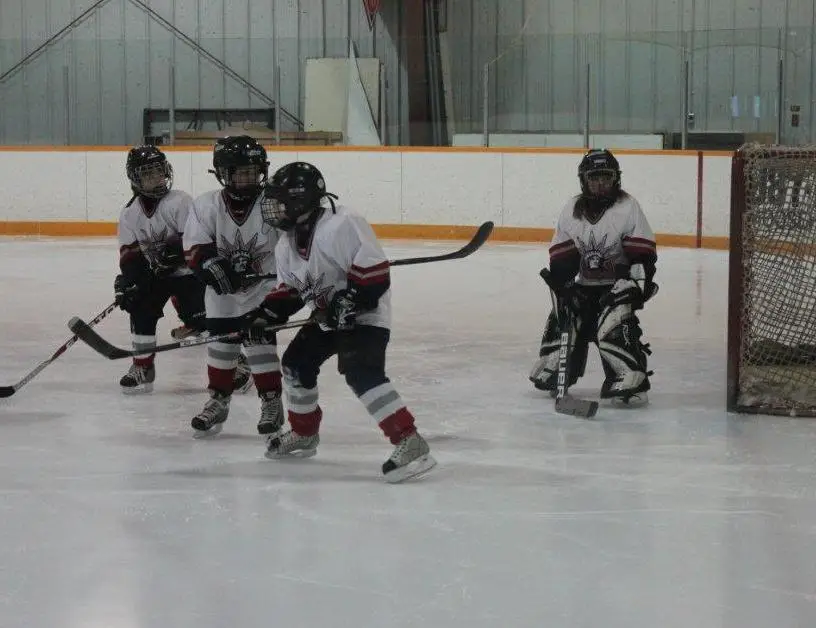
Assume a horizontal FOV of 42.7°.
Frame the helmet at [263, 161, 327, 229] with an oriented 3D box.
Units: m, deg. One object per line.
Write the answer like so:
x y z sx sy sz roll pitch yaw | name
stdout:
-0.401 -0.418 3.742 0.243 0.225 0.200 -7 0 -6 | helmet

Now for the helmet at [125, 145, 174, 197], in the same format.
-1.190 -0.648 4.794 0.186 0.235 0.213 -3 13 -14 | helmet

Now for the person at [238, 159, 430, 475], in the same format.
-0.251 0.014 3.732 0.763 1.093 0.265 8 15 33 | person

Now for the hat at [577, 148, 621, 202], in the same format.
0.849 -0.630 4.750 0.191 0.208 0.231 -2 4 3 | hat

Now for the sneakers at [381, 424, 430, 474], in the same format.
-0.002 0.493 3.648 0.186 0.175 0.106 -1 12 -2 | sneakers

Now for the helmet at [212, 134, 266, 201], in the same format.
-0.659 -0.593 4.199 0.203 0.239 0.258 -5 11 -26 | helmet

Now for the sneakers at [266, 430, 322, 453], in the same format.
-0.424 0.485 3.921 0.213 0.090 0.077 -2 51 -4 | sneakers

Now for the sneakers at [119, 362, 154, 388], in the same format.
-1.277 0.291 4.943 0.080 0.097 0.200 7 3 26 | sneakers

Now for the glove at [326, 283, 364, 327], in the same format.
-0.215 -0.026 3.579 0.098 0.126 0.068 19 37 11 | glove

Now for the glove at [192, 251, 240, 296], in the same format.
-0.753 -0.162 4.156 0.123 0.161 0.057 -23 2 -35 | glove

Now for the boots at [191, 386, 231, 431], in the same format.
-0.815 0.396 4.231 0.082 0.168 0.243 19 3 14 | boots

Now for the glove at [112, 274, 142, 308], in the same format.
-1.342 -0.104 4.882 0.092 0.158 0.181 -11 16 -40 | glove
